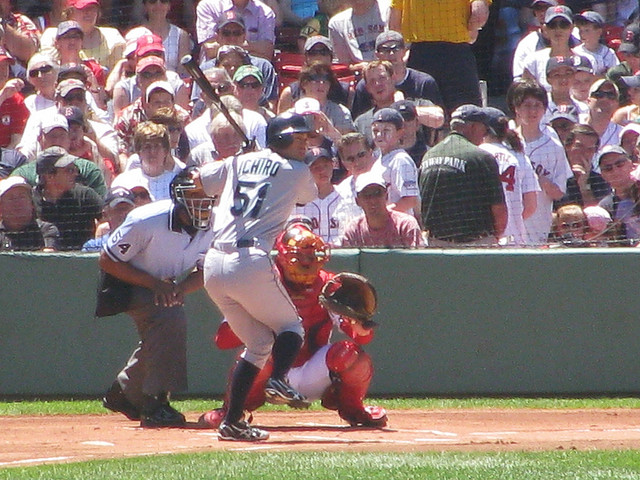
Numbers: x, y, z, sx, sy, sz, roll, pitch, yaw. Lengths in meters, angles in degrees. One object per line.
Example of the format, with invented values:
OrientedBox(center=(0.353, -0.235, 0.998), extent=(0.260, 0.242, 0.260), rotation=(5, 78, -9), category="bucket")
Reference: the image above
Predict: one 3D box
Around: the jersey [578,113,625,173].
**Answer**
OrientedBox(center=(2.541, -0.887, 12.453), extent=(0.407, 0.564, 0.812), rotation=(3, 2, 11), category="jersey")

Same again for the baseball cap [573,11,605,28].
OrientedBox(center=(2.709, -2.217, 13.742), extent=(0.254, 0.123, 0.184), rotation=(21, 6, -28), category="baseball cap")

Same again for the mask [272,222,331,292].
OrientedBox(center=(-0.168, 0.076, 10.356), extent=(0.451, 0.456, 0.531), rotation=(-1, 8, -16), category="mask")

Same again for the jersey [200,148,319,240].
OrientedBox(center=(-0.426, -0.323, 9.751), extent=(0.824, 0.657, 0.364), rotation=(2, 3, -4), category="jersey")

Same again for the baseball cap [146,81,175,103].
OrientedBox(center=(-1.444, -1.353, 12.544), extent=(0.246, 0.206, 0.236), rotation=(2, 3, -8), category="baseball cap")

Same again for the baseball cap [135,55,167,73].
OrientedBox(center=(-1.582, -1.669, 12.983), extent=(0.261, 0.197, 0.348), rotation=(2, 2, -9), category="baseball cap")

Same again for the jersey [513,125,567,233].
OrientedBox(center=(1.930, -0.530, 11.935), extent=(0.354, 0.857, 0.302), rotation=(13, 20, 37), category="jersey")

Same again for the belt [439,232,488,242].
OrientedBox(center=(1.204, -0.022, 11.465), extent=(0.372, 0.084, 0.075), rotation=(2, 3, -3), category="belt")

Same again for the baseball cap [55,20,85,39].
OrientedBox(center=(-2.408, -2.058, 13.356), extent=(0.257, 0.204, 0.341), rotation=(2, 2, -10), category="baseball cap")

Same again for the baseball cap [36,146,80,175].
OrientedBox(center=(-2.198, -0.670, 11.622), extent=(0.351, 0.240, 0.253), rotation=(2, 3, -7), category="baseball cap")

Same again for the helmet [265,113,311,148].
OrientedBox(center=(-0.200, -0.778, 9.871), extent=(0.402, 0.288, 0.313), rotation=(2, 3, 12), category="helmet")

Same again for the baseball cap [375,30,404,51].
OrientedBox(center=(0.678, -1.897, 13.069), extent=(0.256, 0.202, 0.192), rotation=(2, 3, -4), category="baseball cap")

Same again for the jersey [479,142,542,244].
OrientedBox(center=(1.635, -0.399, 11.683), extent=(0.554, 0.857, 0.456), rotation=(2, 3, 0), category="jersey")

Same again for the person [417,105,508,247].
OrientedBox(center=(1.215, -0.487, 11.482), extent=(0.704, 1.540, 0.645), rotation=(17, 49, 24), category="person")

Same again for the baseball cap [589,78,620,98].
OrientedBox(center=(2.666, -1.453, 12.898), extent=(0.246, 0.228, 0.192), rotation=(7, 11, 11), category="baseball cap")

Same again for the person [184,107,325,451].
OrientedBox(center=(-0.478, 0.236, 10.167), extent=(0.843, 2.351, 1.495), rotation=(2, 3, -4), category="person")

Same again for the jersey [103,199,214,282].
OrientedBox(center=(-1.154, 0.019, 10.161), extent=(0.580, 0.433, 0.277), rotation=(21, 24, -40), category="jersey")

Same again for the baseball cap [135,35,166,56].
OrientedBox(center=(-1.629, -1.874, 13.233), extent=(0.284, 0.216, 0.223), rotation=(3, 3, 9), category="baseball cap")

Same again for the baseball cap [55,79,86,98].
OrientedBox(center=(-2.274, -1.396, 12.609), extent=(0.263, 0.176, 0.236), rotation=(2, 2, -10), category="baseball cap")

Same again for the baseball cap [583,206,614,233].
OrientedBox(center=(2.360, -0.175, 11.675), extent=(0.224, 0.220, 0.207), rotation=(4, 3, 26), category="baseball cap")

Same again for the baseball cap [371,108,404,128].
OrientedBox(center=(0.596, -1.071, 11.978), extent=(0.163, 0.095, 0.224), rotation=(7, 10, 44), category="baseball cap")

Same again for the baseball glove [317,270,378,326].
OrientedBox(center=(0.236, 0.405, 10.167), extent=(0.448, 0.340, 0.208), rotation=(34, 41, -12), category="baseball glove")

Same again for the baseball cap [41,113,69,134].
OrientedBox(center=(-2.316, -1.026, 12.128), extent=(0.240, 0.187, 0.220), rotation=(2, 3, -10), category="baseball cap")

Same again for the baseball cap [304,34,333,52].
OrientedBox(center=(0.006, -1.952, 13.646), extent=(0.315, 0.145, 0.459), rotation=(4, 1, -3), category="baseball cap")

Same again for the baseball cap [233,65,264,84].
OrientedBox(center=(-0.665, -1.535, 12.753), extent=(0.251, 0.126, 0.364), rotation=(0, -2, -7), category="baseball cap")

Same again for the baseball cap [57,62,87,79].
OrientedBox(center=(-2.299, -1.587, 12.867), extent=(0.267, 0.144, 0.220), rotation=(2, 2, -10), category="baseball cap")

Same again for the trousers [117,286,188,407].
OrientedBox(center=(-1.226, 0.803, 10.247), extent=(0.505, 0.904, 0.221), rotation=(2, 3, -8), category="trousers")

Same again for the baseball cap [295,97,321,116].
OrientedBox(center=(-0.096, -1.195, 12.385), extent=(0.221, 0.100, 0.315), rotation=(-1, 4, 0), category="baseball cap")

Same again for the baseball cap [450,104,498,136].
OrientedBox(center=(1.339, -1.069, 11.666), extent=(0.230, 0.162, 0.328), rotation=(-10, 19, -23), category="baseball cap")

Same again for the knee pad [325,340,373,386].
OrientedBox(center=(0.218, 0.910, 10.083), extent=(0.344, 0.321, 0.115), rotation=(2, 3, 1), category="knee pad")
